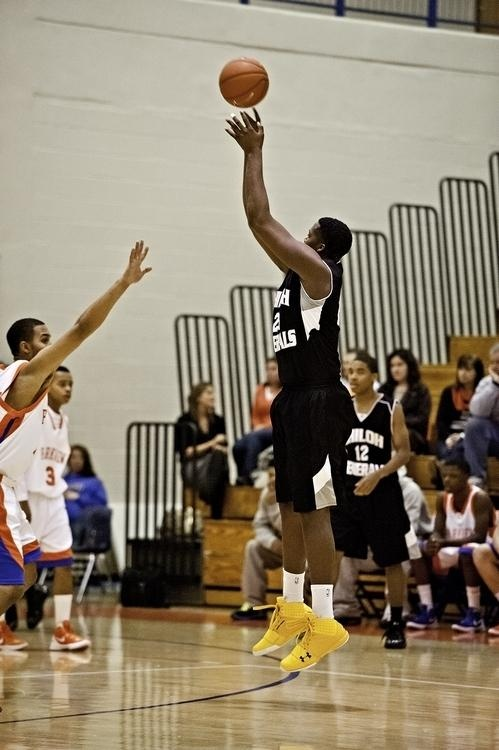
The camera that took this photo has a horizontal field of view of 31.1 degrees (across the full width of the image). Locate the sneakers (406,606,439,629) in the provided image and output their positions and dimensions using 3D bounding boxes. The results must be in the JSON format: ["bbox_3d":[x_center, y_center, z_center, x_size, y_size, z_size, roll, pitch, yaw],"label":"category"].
[{"bbox_3d":[1.025,1.398,5.204,0.088,0.123,0.254,-4,-5,44],"label":"sneakers"}]

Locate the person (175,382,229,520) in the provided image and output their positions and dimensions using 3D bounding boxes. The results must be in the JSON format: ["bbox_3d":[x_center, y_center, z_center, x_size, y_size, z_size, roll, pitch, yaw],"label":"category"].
[{"bbox_3d":[-0.347,0.551,6.578,0.381,0.982,0.531,-2,-4,-3],"label":"person"}]

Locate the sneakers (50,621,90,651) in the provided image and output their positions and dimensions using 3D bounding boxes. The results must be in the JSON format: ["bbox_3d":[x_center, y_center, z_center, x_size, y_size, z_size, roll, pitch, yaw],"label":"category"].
[{"bbox_3d":[-0.839,1.251,4.309,0.263,0.198,0.090,-11,-15,31],"label":"sneakers"}]

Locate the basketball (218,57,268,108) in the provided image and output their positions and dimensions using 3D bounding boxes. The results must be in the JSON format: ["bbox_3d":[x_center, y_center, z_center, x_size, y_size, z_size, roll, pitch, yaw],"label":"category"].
[{"bbox_3d":[-0.019,-1.117,3.439,0.175,0.248,0.231,-2,-4,0],"label":"basketball"}]

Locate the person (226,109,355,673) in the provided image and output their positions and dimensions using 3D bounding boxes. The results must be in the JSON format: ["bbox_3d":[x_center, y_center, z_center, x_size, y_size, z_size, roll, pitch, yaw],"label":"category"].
[{"bbox_3d":[0.164,0.070,3.108,0.425,1.975,0.537,-2,-4,6],"label":"person"}]

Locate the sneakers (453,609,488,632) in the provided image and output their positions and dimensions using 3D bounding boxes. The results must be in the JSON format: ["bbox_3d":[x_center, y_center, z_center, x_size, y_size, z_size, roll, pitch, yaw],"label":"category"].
[{"bbox_3d":[1.222,1.363,5.007,0.243,0.151,0.093,2,-7,-21],"label":"sneakers"}]

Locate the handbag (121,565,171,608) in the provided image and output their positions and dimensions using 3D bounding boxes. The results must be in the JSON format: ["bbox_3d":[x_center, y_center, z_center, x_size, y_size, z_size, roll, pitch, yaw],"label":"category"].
[{"bbox_3d":[-0.710,1.455,6.372,0.418,0.379,0.230,0,-3,4],"label":"handbag"}]

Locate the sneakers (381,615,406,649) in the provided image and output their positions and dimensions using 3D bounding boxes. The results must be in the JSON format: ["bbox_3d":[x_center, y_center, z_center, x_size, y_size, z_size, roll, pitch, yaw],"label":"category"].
[{"bbox_3d":[0.707,1.273,4.391,0.069,0.140,0.206,-1,-14,9],"label":"sneakers"}]

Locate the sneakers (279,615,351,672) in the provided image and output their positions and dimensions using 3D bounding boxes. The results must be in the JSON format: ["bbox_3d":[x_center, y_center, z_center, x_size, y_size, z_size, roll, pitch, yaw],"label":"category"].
[{"bbox_3d":[0.226,0.897,3.040,0.208,0.172,0.185,-3,-4,11],"label":"sneakers"}]
